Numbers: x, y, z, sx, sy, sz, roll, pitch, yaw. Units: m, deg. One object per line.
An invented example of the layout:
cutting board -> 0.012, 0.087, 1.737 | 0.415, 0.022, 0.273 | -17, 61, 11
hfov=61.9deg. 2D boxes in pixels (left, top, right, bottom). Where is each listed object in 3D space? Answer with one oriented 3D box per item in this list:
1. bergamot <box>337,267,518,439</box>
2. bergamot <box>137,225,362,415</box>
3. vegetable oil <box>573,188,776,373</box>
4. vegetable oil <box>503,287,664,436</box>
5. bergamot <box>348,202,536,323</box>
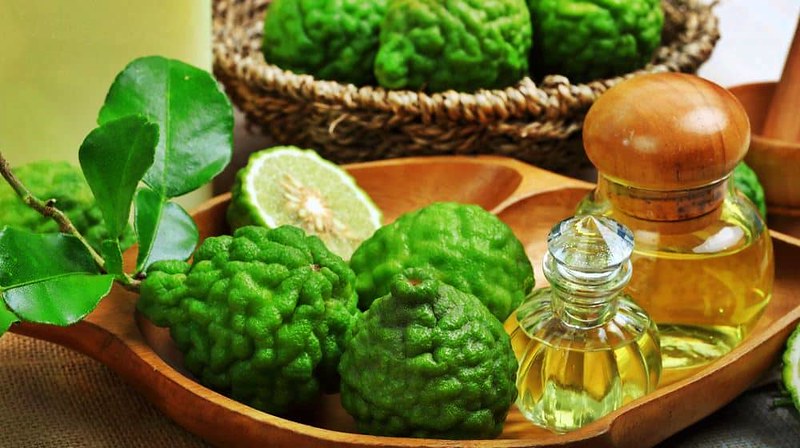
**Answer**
bergamot -> 0.033, 0.138, 0.730 | 0.180, 0.165, 0.167 | -3, -11, 8
bergamot -> -0.148, 0.100, 0.750 | 0.228, 0.152, 0.164 | 16, 34, 9
vegetable oil -> 0.311, 0.045, 0.827 | 0.234, 0.206, 0.226 | 9, 16, 21
vegetable oil -> 0.187, 0.148, 0.705 | 0.160, 0.129, 0.155 | -3, 14, 8
bergamot -> 0.045, 0.032, 0.751 | 0.178, 0.104, 0.130 | -6, 38, 4
